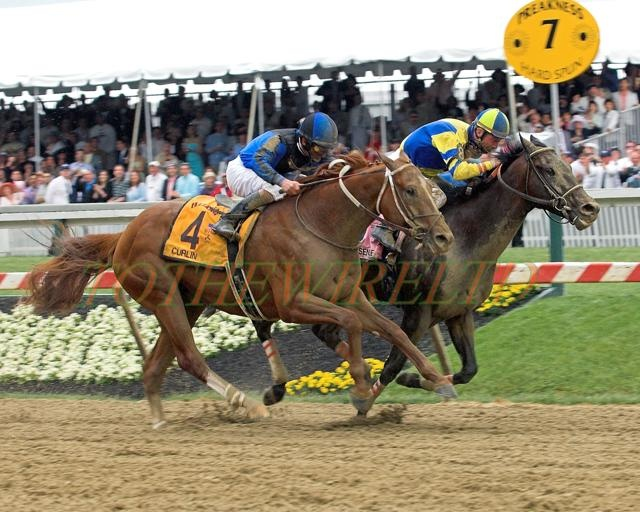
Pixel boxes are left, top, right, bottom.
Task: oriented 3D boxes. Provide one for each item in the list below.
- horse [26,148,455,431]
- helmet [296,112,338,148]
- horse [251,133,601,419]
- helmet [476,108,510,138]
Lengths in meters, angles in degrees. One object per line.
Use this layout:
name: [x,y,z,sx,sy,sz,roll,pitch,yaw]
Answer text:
horse: [-0.506,0.223,4.941,2.888,1.787,0.587,-2,7,13]
helmet: [-0.019,-0.839,4.818,0.253,0.247,0.205,-4,5,-1]
horse: [0.979,0.171,5.665,1.241,1.779,3.716,-1,-1,-19]
helmet: [1.205,-0.934,5.081,0.304,0.146,0.185,27,15,-5]
